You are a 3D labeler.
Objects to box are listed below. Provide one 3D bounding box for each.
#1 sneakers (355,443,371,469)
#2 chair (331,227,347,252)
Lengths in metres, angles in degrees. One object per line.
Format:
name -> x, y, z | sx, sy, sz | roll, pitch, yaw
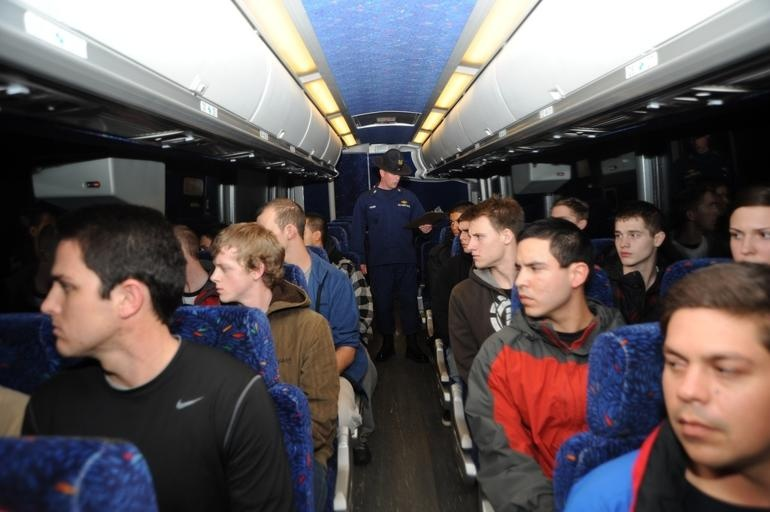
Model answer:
sneakers -> -0.171, 1.529, 3.760 | 0.176, 0.166, 0.122 | -3, -1, 5
chair -> -0.614, -0.238, 6.655 | 0.286, 0.365, 0.310 | -1, -12, -11
